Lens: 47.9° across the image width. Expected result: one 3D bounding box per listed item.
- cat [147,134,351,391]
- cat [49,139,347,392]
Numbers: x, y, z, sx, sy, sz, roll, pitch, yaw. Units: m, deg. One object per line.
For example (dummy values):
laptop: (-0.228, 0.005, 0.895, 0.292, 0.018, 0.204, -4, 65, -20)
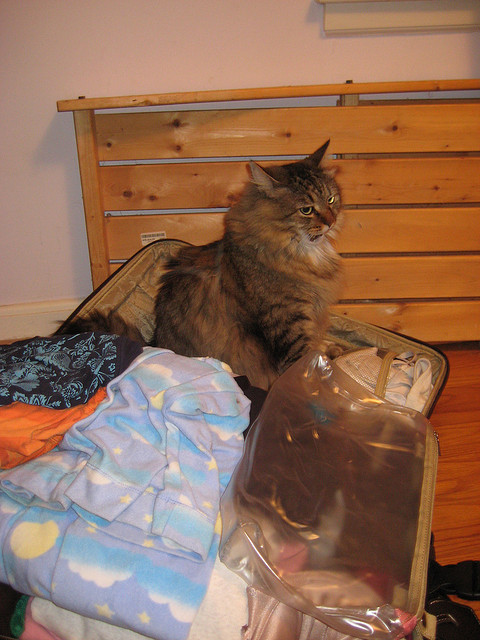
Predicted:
cat: (0.011, -0.201, 1.786, 0.622, 0.717, 0.532, 10, 27, 16)
cat: (0.006, -0.196, 1.777, 0.624, 0.724, 0.533, 9, 26, 14)
